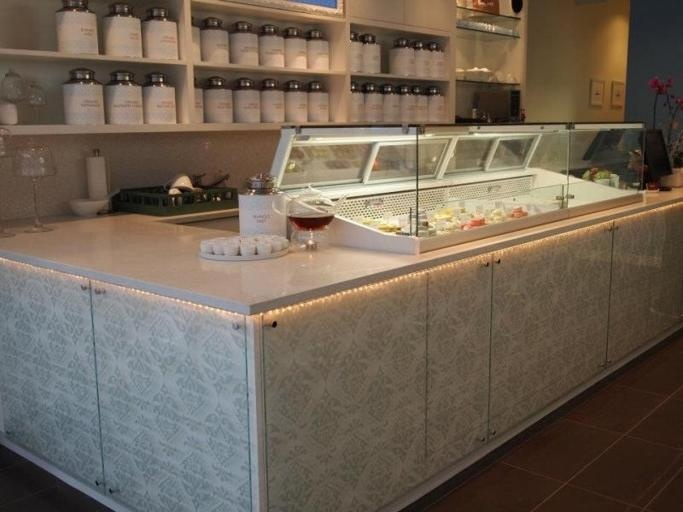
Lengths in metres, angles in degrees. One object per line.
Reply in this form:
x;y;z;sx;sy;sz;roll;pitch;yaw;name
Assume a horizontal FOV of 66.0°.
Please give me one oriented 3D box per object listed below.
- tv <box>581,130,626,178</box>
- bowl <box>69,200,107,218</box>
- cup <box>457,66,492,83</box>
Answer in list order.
1.546;-0.611;3.117;0.312;0.268;0.108;-12;18;-35;tv
-1.486;-0.283;3.106;0.129;0.066;0.165;-1;0;16;bowl
1.173;-1.571;4.647;0.204;0.081;0.257;7;13;36;cup
